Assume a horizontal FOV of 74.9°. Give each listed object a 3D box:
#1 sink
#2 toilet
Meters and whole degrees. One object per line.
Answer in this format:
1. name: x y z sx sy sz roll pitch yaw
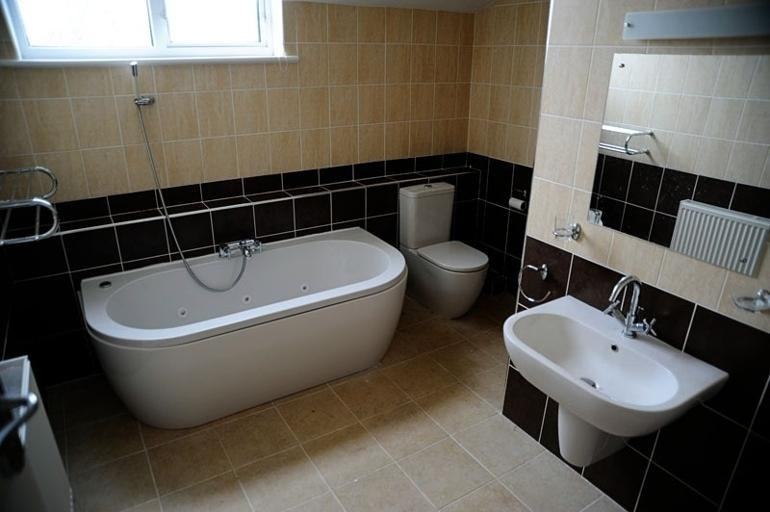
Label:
1. sink: 1.061 0.593 2.522 0.672 0.336 0.915 -18 28 -32
2. toilet: 0.519 -0.051 4.125 0.465 0.956 0.750 -15 28 -29
